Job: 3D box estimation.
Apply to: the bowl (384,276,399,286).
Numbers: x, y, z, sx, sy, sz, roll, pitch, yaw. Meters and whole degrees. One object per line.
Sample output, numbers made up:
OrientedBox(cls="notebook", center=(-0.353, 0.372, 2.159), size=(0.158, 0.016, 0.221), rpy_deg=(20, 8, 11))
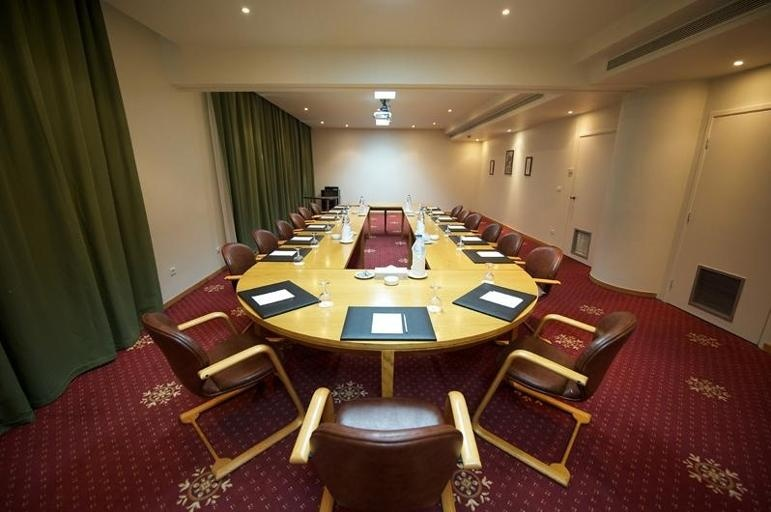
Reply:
OrientedBox(cls="bowl", center=(0.048, 0.237, 4.487), size=(0.098, 0.037, 0.101), rpy_deg=(-1, 15, 0))

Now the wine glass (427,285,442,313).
OrientedBox(cls="wine glass", center=(0.445, 0.407, 4.224), size=(0.172, 0.289, 0.155), rpy_deg=(-2, 16, -2))

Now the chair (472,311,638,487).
OrientedBox(cls="chair", center=(1.571, 1.084, 4.350), size=(1.221, 1.512, 1.125), rpy_deg=(-15, 31, -38))

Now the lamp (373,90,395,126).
OrientedBox(cls="lamp", center=(-0.055, -2.464, 7.680), size=(0.390, 0.566, 0.394), rpy_deg=(2, 6, -31))
